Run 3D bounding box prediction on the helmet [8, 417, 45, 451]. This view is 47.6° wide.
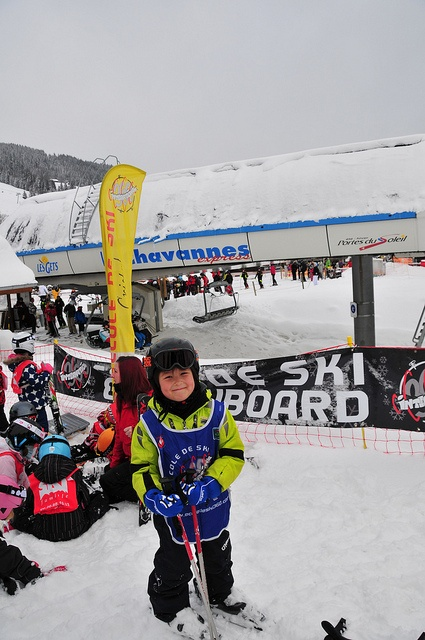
[{"bbox_3d":[-1.658,0.999,4.280,0.221,0.298,0.233,19,51,30],"label":"helmet"}]

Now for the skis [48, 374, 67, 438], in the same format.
[{"bbox_3d":[-2.110,1.196,6.502,0.142,0.965,0.139,-25,41,-34],"label":"skis"}]

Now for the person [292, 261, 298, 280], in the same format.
[{"bbox_3d":[5.556,-3.360,32.433,0.350,1.246,1.442,-1,10,10],"label":"person"}]

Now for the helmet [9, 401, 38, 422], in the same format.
[{"bbox_3d":[-1.775,0.845,4.542,0.186,0.238,0.231,-2,14,-18],"label":"helmet"}]

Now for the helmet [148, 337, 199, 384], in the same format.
[{"bbox_3d":[-0.232,0.218,2.822,0.297,0.243,0.307,-13,6,-37],"label":"helmet"}]

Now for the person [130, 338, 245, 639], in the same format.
[{"bbox_3d":[-0.131,1.028,2.835,0.658,1.844,0.566,-5,10,-9],"label":"person"}]

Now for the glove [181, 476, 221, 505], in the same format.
[{"bbox_3d":[-0.054,0.913,2.585,0.180,0.075,0.135,-28,-42,31],"label":"glove"}]

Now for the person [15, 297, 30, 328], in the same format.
[{"bbox_3d":[-6.935,-0.254,17.560,0.351,1.106,0.670,-10,12,-36],"label":"person"}]

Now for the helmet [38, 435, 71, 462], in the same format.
[{"bbox_3d":[-1.319,1.047,4.048,0.183,0.248,0.229,1,3,5],"label":"helmet"}]

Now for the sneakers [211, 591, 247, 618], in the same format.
[{"bbox_3d":[0.108,1.810,3.126,0.205,0.092,0.118,-8,21,-16],"label":"sneakers"}]

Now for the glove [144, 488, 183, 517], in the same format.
[{"bbox_3d":[-0.265,0.957,2.603,0.170,0.081,0.133,9,11,34],"label":"glove"}]
